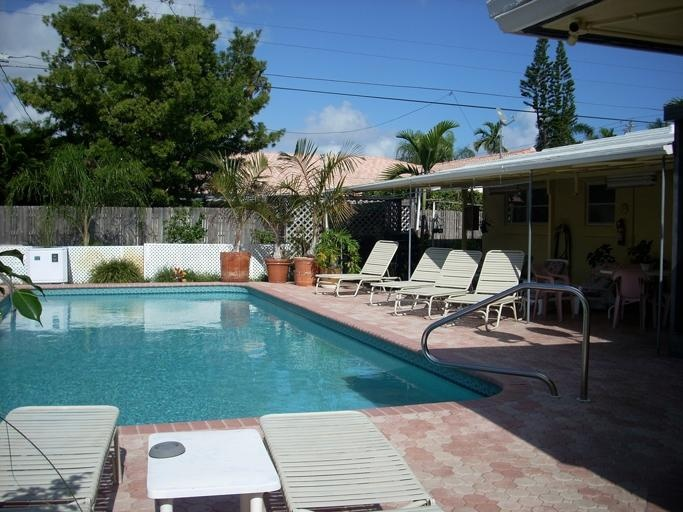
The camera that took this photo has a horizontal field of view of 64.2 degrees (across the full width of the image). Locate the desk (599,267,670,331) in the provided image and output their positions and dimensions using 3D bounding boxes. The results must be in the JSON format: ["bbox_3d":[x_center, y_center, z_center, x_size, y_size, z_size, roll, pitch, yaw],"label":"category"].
[{"bbox_3d":[4.708,0.703,8.703,0.710,1.000,0.770,7,19,42],"label":"desk"}]

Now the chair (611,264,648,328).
[{"bbox_3d":[4.455,0.673,8.421,0.444,0.956,0.590,2,7,27],"label":"chair"}]
